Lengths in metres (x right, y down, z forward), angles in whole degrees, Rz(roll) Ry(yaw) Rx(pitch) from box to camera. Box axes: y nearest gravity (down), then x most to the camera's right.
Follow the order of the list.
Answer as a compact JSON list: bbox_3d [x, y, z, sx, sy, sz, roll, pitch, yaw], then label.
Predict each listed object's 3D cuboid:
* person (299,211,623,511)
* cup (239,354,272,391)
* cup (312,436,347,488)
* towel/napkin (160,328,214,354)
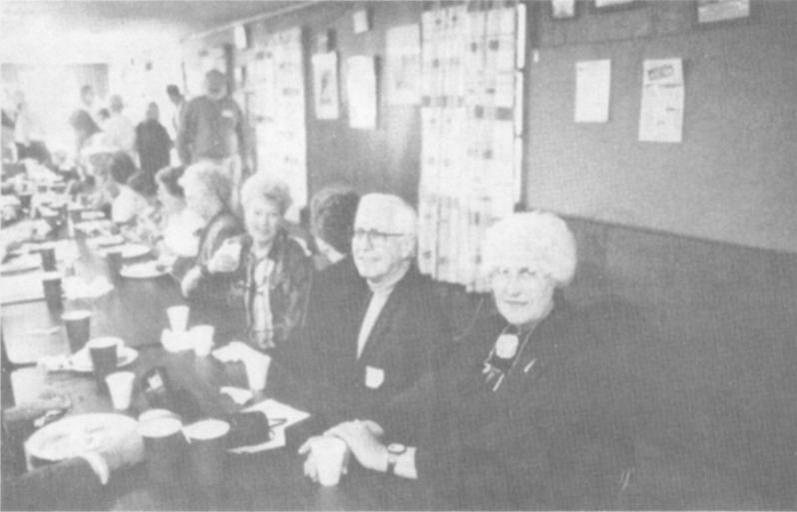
[{"bbox_3d":[0.406,0.356,2.098,0.706,0.989,0.167,-2,12,0],"label":"person"},{"bbox_3d":[-0.475,0.399,2.126,0.114,0.126,0.118,-3,-16,-1],"label":"cup"},{"bbox_3d":[-0.233,0.687,2.113,0.153,0.173,0.154,-1,-14,0],"label":"cup"},{"bbox_3d":[-0.699,0.280,2.102,0.135,0.092,0.090,-3,0,-8],"label":"towel/napkin"}]
